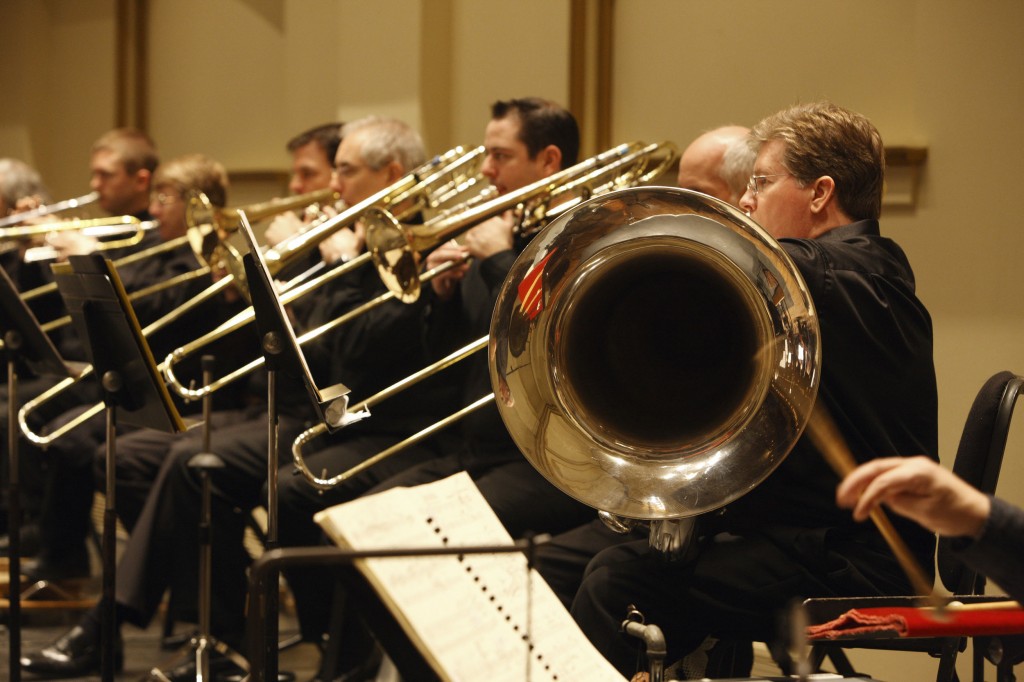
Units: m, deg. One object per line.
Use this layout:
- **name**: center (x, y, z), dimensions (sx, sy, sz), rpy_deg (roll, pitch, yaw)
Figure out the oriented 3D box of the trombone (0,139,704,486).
- **trombone**: center (-0.504, -0.066, 3.777), dimensions (2.348, 0.578, 0.472), rpy_deg (-21, 22, -8)
